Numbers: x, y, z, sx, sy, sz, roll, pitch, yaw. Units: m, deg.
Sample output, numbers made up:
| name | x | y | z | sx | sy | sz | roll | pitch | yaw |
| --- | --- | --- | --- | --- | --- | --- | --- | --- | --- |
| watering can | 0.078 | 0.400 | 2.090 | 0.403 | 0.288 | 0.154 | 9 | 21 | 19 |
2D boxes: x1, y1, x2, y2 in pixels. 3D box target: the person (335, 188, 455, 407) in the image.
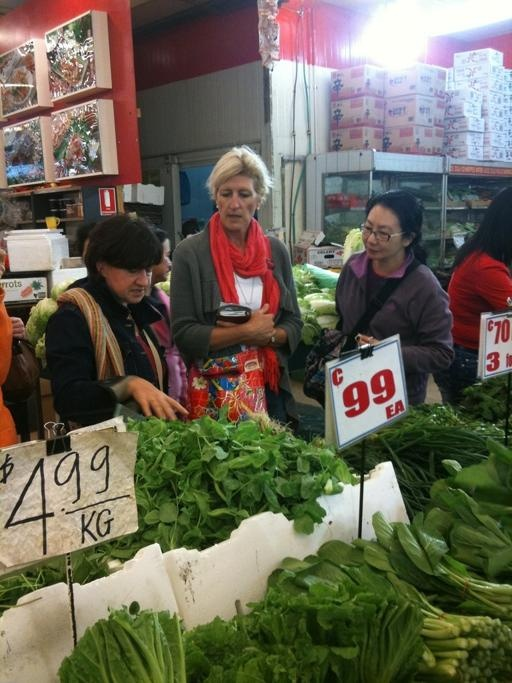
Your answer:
| name | x | y | z | sx | sy | sz | roll | pitch | yaw |
| --- | --- | --- | --- | --- | --- | --- | --- | --- | --- |
| person | 0.615 | -0.198 | 2.309 | 0.373 | 0.953 | 0.547 | -8 | 10 | -26 |

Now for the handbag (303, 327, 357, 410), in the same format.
| name | x | y | z | sx | sy | sz | roll | pitch | yaw |
| --- | --- | --- | --- | --- | --- | --- | --- | --- | --- |
| handbag | 0.339 | 0.133 | 2.452 | 0.299 | 0.355 | 0.160 | 14 | -2 | 23 |

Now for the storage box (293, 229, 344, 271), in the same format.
| name | x | y | z | sx | sy | sz | roll | pitch | yaw |
| --- | --- | --- | --- | --- | --- | --- | --- | --- | --- |
| storage box | 0.701 | -1.048 | 6.041 | 0.567 | 0.527 | 0.578 | 2 | 1 | -19 |

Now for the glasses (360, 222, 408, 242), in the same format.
| name | x | y | z | sx | sy | sz | roll | pitch | yaw |
| --- | --- | --- | --- | --- | --- | --- | --- | --- | --- |
| glasses | 0.545 | -0.458 | 2.190 | 0.115 | 0.035 | 0.109 | -4 | 20 | -36 |
